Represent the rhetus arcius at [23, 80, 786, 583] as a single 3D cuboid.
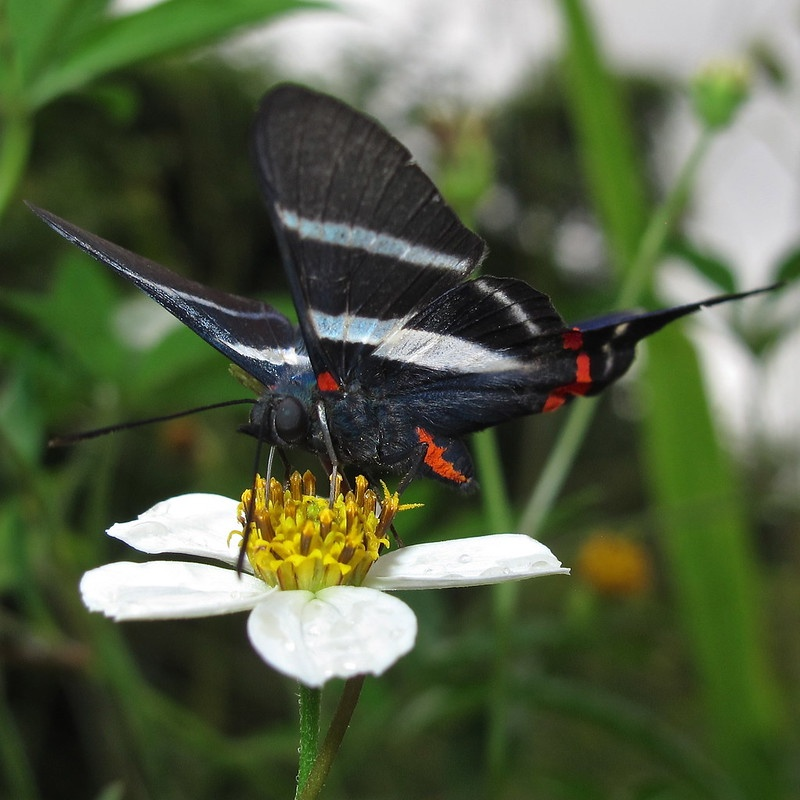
[{"bbox_3d":[-0.048,-0.096,1.249,0.579,0.517,0.498,-37,80,-15],"label":"rhetus arcius"}]
